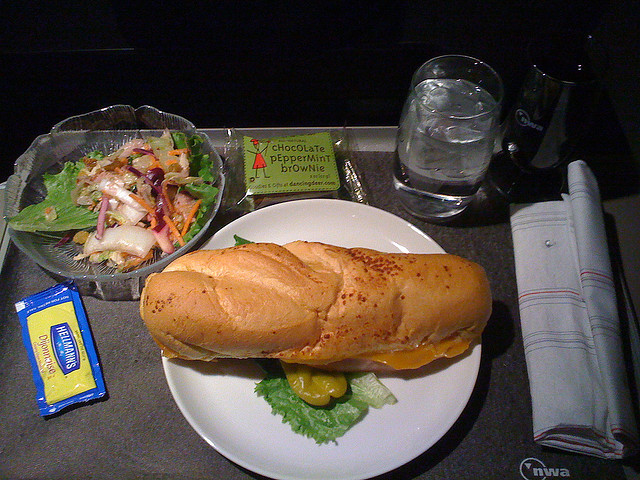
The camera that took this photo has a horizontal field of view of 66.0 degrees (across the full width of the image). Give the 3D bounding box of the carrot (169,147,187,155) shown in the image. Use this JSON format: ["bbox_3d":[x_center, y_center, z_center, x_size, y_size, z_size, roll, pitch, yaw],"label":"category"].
[{"bbox_3d":[-0.512,-0.321,1.776,0.046,0.011,0.026,-4,40,5],"label":"carrot"}]

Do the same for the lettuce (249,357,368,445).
[{"bbox_3d":[-0.055,0.477,1.435,0.300,0.066,0.223,29,60,20],"label":"lettuce"}]

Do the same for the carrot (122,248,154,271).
[{"bbox_3d":[-0.618,0.073,1.701,0.078,0.020,0.074,-29,26,-9],"label":"carrot"}]

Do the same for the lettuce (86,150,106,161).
[{"bbox_3d":[-0.832,-0.315,1.816,0.048,0.015,0.048,4,37,-9],"label":"lettuce"}]

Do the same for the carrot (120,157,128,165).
[{"bbox_3d":[-0.712,-0.288,1.780,0.028,0.007,0.027,5,76,-32],"label":"carrot"}]

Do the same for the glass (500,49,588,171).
[{"bbox_3d":[0.762,-0.432,1.643,0.214,0.346,0.231,-35,62,-28],"label":"glass"}]

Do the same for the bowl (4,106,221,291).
[{"bbox_3d":[-0.709,-0.181,1.725,0.683,0.195,0.695,0,71,1],"label":"bowl"}]

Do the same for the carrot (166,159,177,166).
[{"bbox_3d":[-0.531,-0.281,1.753,0.031,0.007,0.016,-13,66,-23],"label":"carrot"}]

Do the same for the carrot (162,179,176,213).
[{"bbox_3d":[-0.534,-0.152,1.744,0.034,0.029,0.120,-12,78,17],"label":"carrot"}]

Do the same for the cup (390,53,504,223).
[{"bbox_3d":[0.421,-0.326,1.612,0.316,0.485,0.338,0,48,0],"label":"cup"}]

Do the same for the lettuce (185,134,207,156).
[{"bbox_3d":[-0.446,-0.344,1.744,0.068,0.030,0.069,-2,64,-6],"label":"lettuce"}]

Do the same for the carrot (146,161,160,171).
[{"bbox_3d":[-0.598,-0.267,1.752,0.030,0.009,0.030,-6,44,22],"label":"carrot"}]

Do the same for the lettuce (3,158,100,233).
[{"bbox_3d":[-0.900,-0.117,1.689,0.181,0.075,0.280,29,58,-3],"label":"lettuce"}]
